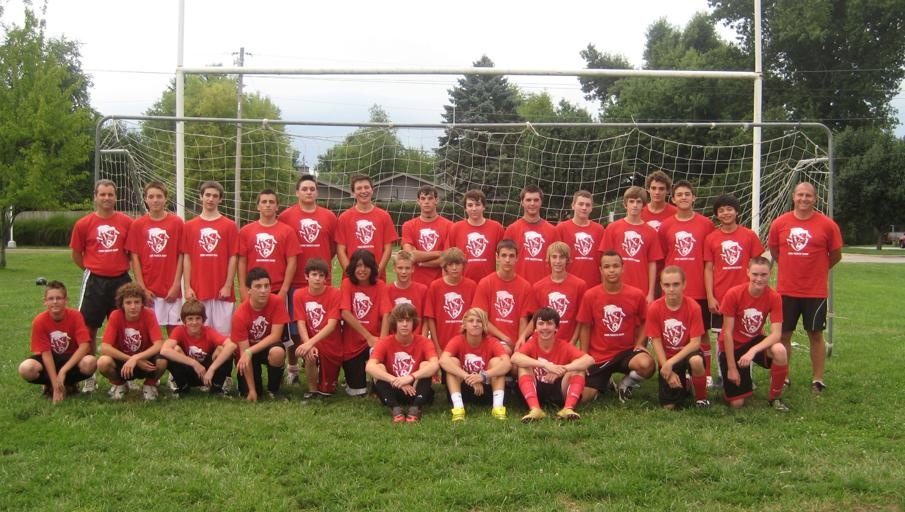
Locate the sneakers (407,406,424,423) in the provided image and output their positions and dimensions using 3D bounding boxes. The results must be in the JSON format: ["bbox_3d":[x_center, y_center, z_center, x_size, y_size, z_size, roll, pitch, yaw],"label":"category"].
[{"bbox_3d":[-0.763,3.132,16.941,0.278,0.278,0.362,1,3,-2],"label":"sneakers"}]

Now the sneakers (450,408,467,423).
[{"bbox_3d":[0.114,3.137,16.876,0.285,0.223,0.325,1,3,1],"label":"sneakers"}]

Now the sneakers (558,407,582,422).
[{"bbox_3d":[2.313,3.150,16.829,0.424,0.185,0.211,0,-3,14],"label":"sneakers"}]
